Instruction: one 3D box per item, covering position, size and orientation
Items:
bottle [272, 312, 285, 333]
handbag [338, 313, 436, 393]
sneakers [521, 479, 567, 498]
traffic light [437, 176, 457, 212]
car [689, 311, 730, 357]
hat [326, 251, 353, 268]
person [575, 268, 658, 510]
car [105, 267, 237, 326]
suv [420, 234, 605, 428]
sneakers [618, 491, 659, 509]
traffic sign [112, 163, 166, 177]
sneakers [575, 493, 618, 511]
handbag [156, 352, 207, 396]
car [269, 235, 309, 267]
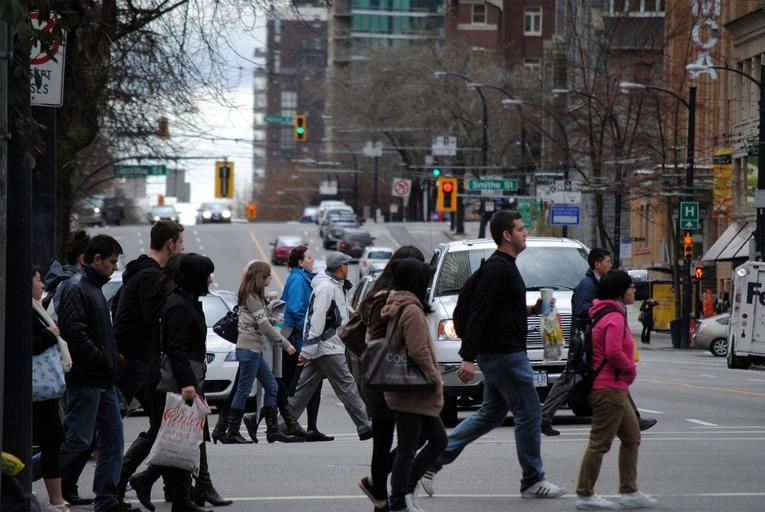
[{"bbox_3d":[-1.564,0.993,21.601,0.166,0.308,0.437,0,1,-4],"label":"bottle"},{"bbox_3d":[0.068,1.143,17.022,1.031,1.303,0.430,-8,-12,0],"label":"handbag"},{"bbox_3d":[1.960,2.830,17.619,0.510,0.219,0.208,-2,0,6],"label":"sneakers"},{"bbox_3d":[2.513,-2.429,56.520,1.143,1.328,1.170,1,2,26],"label":"traffic light"},{"bbox_3d":[9.708,2.313,42.307,1.785,0.859,0.947,-4,2,-2],"label":"car"},{"bbox_3d":[-0.627,0.074,20.776,0.293,0.154,0.217,-13,14,-40],"label":"hat"},{"bbox_3d":[2.746,1.583,17.305,0.927,2.806,0.549,0,1,-3],"label":"person"},{"bbox_3d":[-3.513,0.749,24.800,1.740,0.952,1.027,-2,-2,17],"label":"car"},{"bbox_3d":[2.178,1.208,24.079,3.057,3.284,6.395,-1,-3,2],"label":"suv"},{"bbox_3d":[3.046,2.912,17.227,0.483,0.216,0.178,-2,2,-7],"label":"sneakers"},{"bbox_3d":[-7.439,-2.646,44.152,1.338,0.362,2.814,0,1,-26],"label":"traffic sign"},{"bbox_3d":[2.523,2.926,17.173,0.524,0.238,0.196,0,-2,-4],"label":"sneakers"},{"bbox_3d":[-2.400,1.408,17.080,0.629,0.256,0.704,-6,13,9],"label":"handbag"},{"bbox_3d":[-4.492,0.106,68.072,1.760,1.485,4.234,-1,5,-2],"label":"car"}]
